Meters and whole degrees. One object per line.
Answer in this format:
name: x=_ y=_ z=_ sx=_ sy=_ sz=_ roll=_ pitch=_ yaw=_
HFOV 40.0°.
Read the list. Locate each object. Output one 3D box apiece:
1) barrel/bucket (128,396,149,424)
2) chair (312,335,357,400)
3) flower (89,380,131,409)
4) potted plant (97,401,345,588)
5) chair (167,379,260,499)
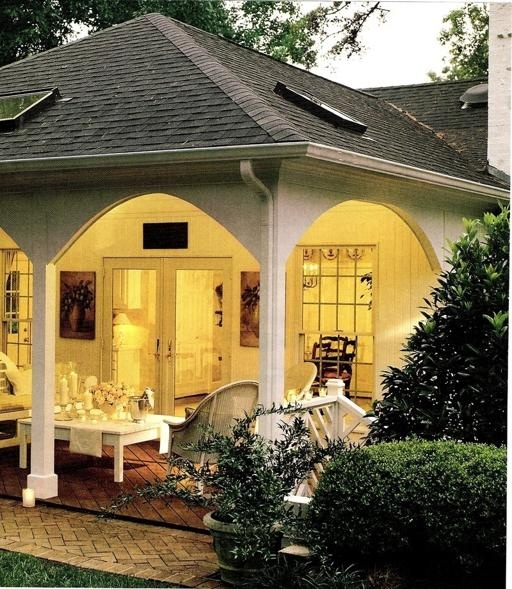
barrel/bucket: x=-1.275 y=1.262 z=7.742 sx=0.281 sy=0.270 sz=0.274 roll=0 pitch=-3 yaw=0
chair: x=1.064 y=0.970 z=9.637 sx=0.624 sy=0.815 sz=0.285 roll=1 pitch=-3 yaw=7
flower: x=-1.634 y=1.120 z=7.934 sx=0.351 sy=0.205 sz=0.323 roll=1 pitch=-4 yaw=-3
potted plant: x=-0.280 y=1.162 z=4.651 sx=1.440 sy=0.849 sz=1.354 roll=-4 pitch=-1 yaw=19
chair: x=-0.402 y=1.378 z=7.051 sx=0.924 sy=0.978 sz=0.902 roll=1 pitch=-8 yaw=22
